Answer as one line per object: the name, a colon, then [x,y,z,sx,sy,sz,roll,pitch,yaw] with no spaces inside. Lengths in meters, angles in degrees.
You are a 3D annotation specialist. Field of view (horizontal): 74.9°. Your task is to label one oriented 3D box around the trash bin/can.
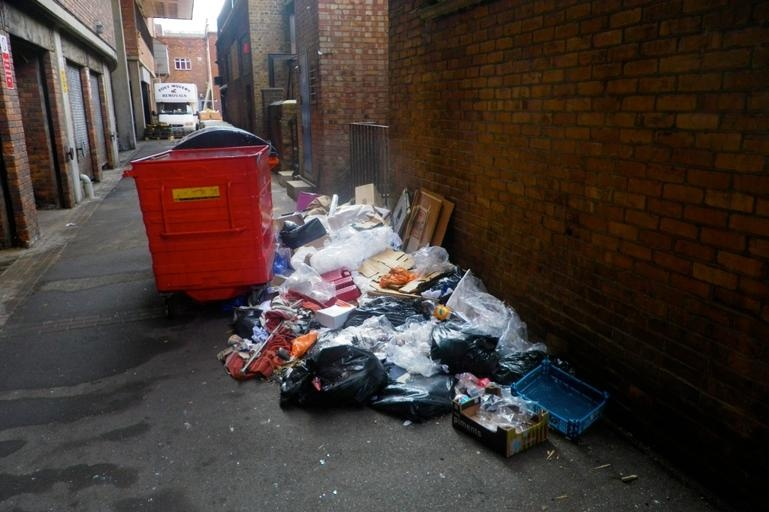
trash bin/can: [-2.222,-0.389,6.789,1.539,2.036,1.537,-3,21,-1]
